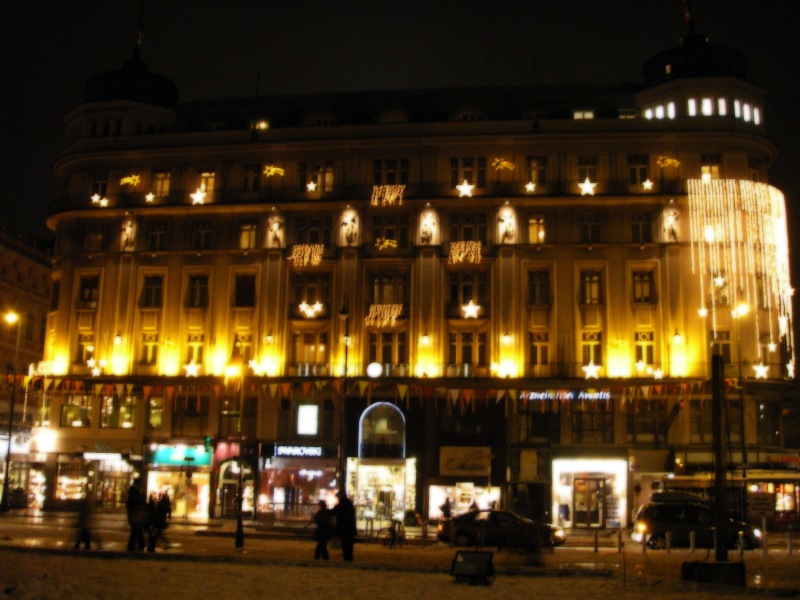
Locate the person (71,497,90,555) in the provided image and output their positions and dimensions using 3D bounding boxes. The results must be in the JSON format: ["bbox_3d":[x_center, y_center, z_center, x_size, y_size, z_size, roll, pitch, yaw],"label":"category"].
[{"bbox_3d":[-12.885,9.133,39.783,0.595,2.089,1.502,6,-15,-18],"label":"person"}]

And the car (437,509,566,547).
[{"bbox_3d":[4.787,11.215,47.710,5.624,1.887,2.587,-1,-15,8],"label":"car"}]

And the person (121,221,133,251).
[{"bbox_3d":[-19.626,-4.743,70.397,1.120,2.499,0.316,-3,-15,17],"label":"person"}]
